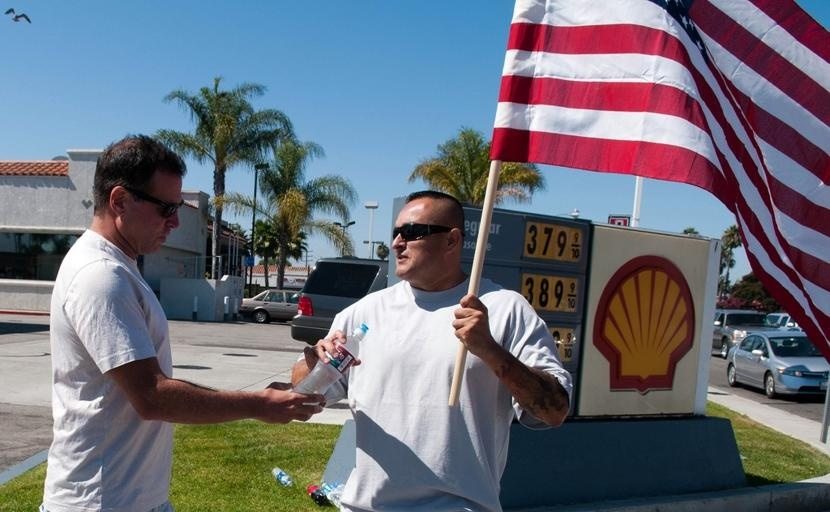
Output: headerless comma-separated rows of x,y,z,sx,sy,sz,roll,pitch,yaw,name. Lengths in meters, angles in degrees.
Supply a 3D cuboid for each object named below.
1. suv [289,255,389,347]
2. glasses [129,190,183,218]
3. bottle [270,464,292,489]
-1.714,0.963,14.276,2.440,1.501,1.536,-2,-1,-5,suv
-1.734,-0.351,4.606,0.210,0.069,0.212,29,-1,-6,glasses
-1.503,2.519,7.697,0.174,0.197,0.316,7,15,-41,bottle
